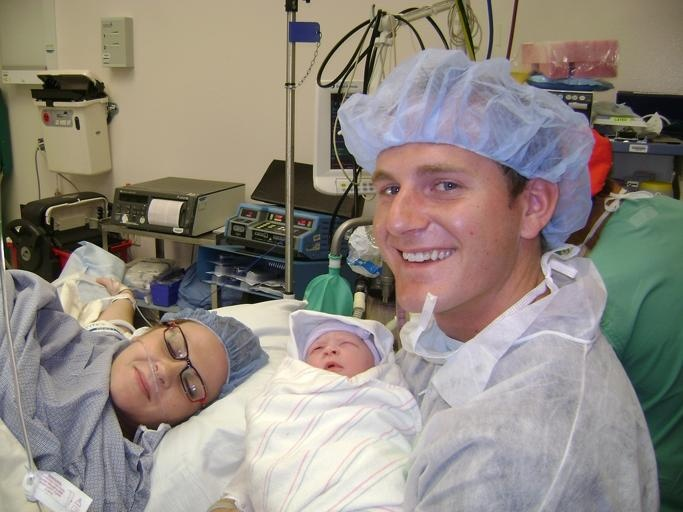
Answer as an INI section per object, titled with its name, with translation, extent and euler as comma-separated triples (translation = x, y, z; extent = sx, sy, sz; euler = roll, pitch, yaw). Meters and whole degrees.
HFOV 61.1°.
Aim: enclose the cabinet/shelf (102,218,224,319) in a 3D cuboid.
[cabinet/shelf]
translation = -1.087, -0.130, 3.836
extent = 0.779, 0.834, 0.605
euler = 8, 10, 24
